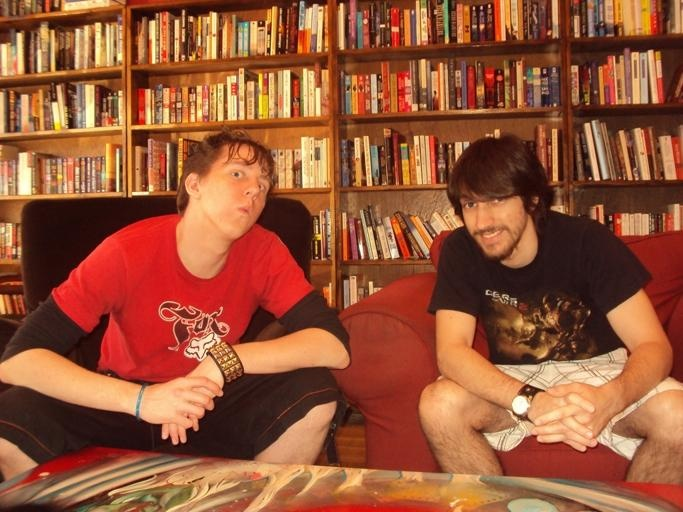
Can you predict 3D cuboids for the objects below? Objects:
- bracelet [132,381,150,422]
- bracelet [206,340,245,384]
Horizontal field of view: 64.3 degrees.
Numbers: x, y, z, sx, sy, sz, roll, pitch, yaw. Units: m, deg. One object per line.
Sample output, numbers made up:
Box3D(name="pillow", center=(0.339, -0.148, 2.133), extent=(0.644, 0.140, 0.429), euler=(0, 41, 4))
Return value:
Box3D(name="bracelet", center=(-0.550, 0.399, 1.490), extent=(0.018, 0.076, 0.070), euler=(7, -6, -10))
Box3D(name="bracelet", center=(-0.340, 0.297, 1.659), extent=(0.079, 0.133, 0.131), euler=(-31, -3, -20))
